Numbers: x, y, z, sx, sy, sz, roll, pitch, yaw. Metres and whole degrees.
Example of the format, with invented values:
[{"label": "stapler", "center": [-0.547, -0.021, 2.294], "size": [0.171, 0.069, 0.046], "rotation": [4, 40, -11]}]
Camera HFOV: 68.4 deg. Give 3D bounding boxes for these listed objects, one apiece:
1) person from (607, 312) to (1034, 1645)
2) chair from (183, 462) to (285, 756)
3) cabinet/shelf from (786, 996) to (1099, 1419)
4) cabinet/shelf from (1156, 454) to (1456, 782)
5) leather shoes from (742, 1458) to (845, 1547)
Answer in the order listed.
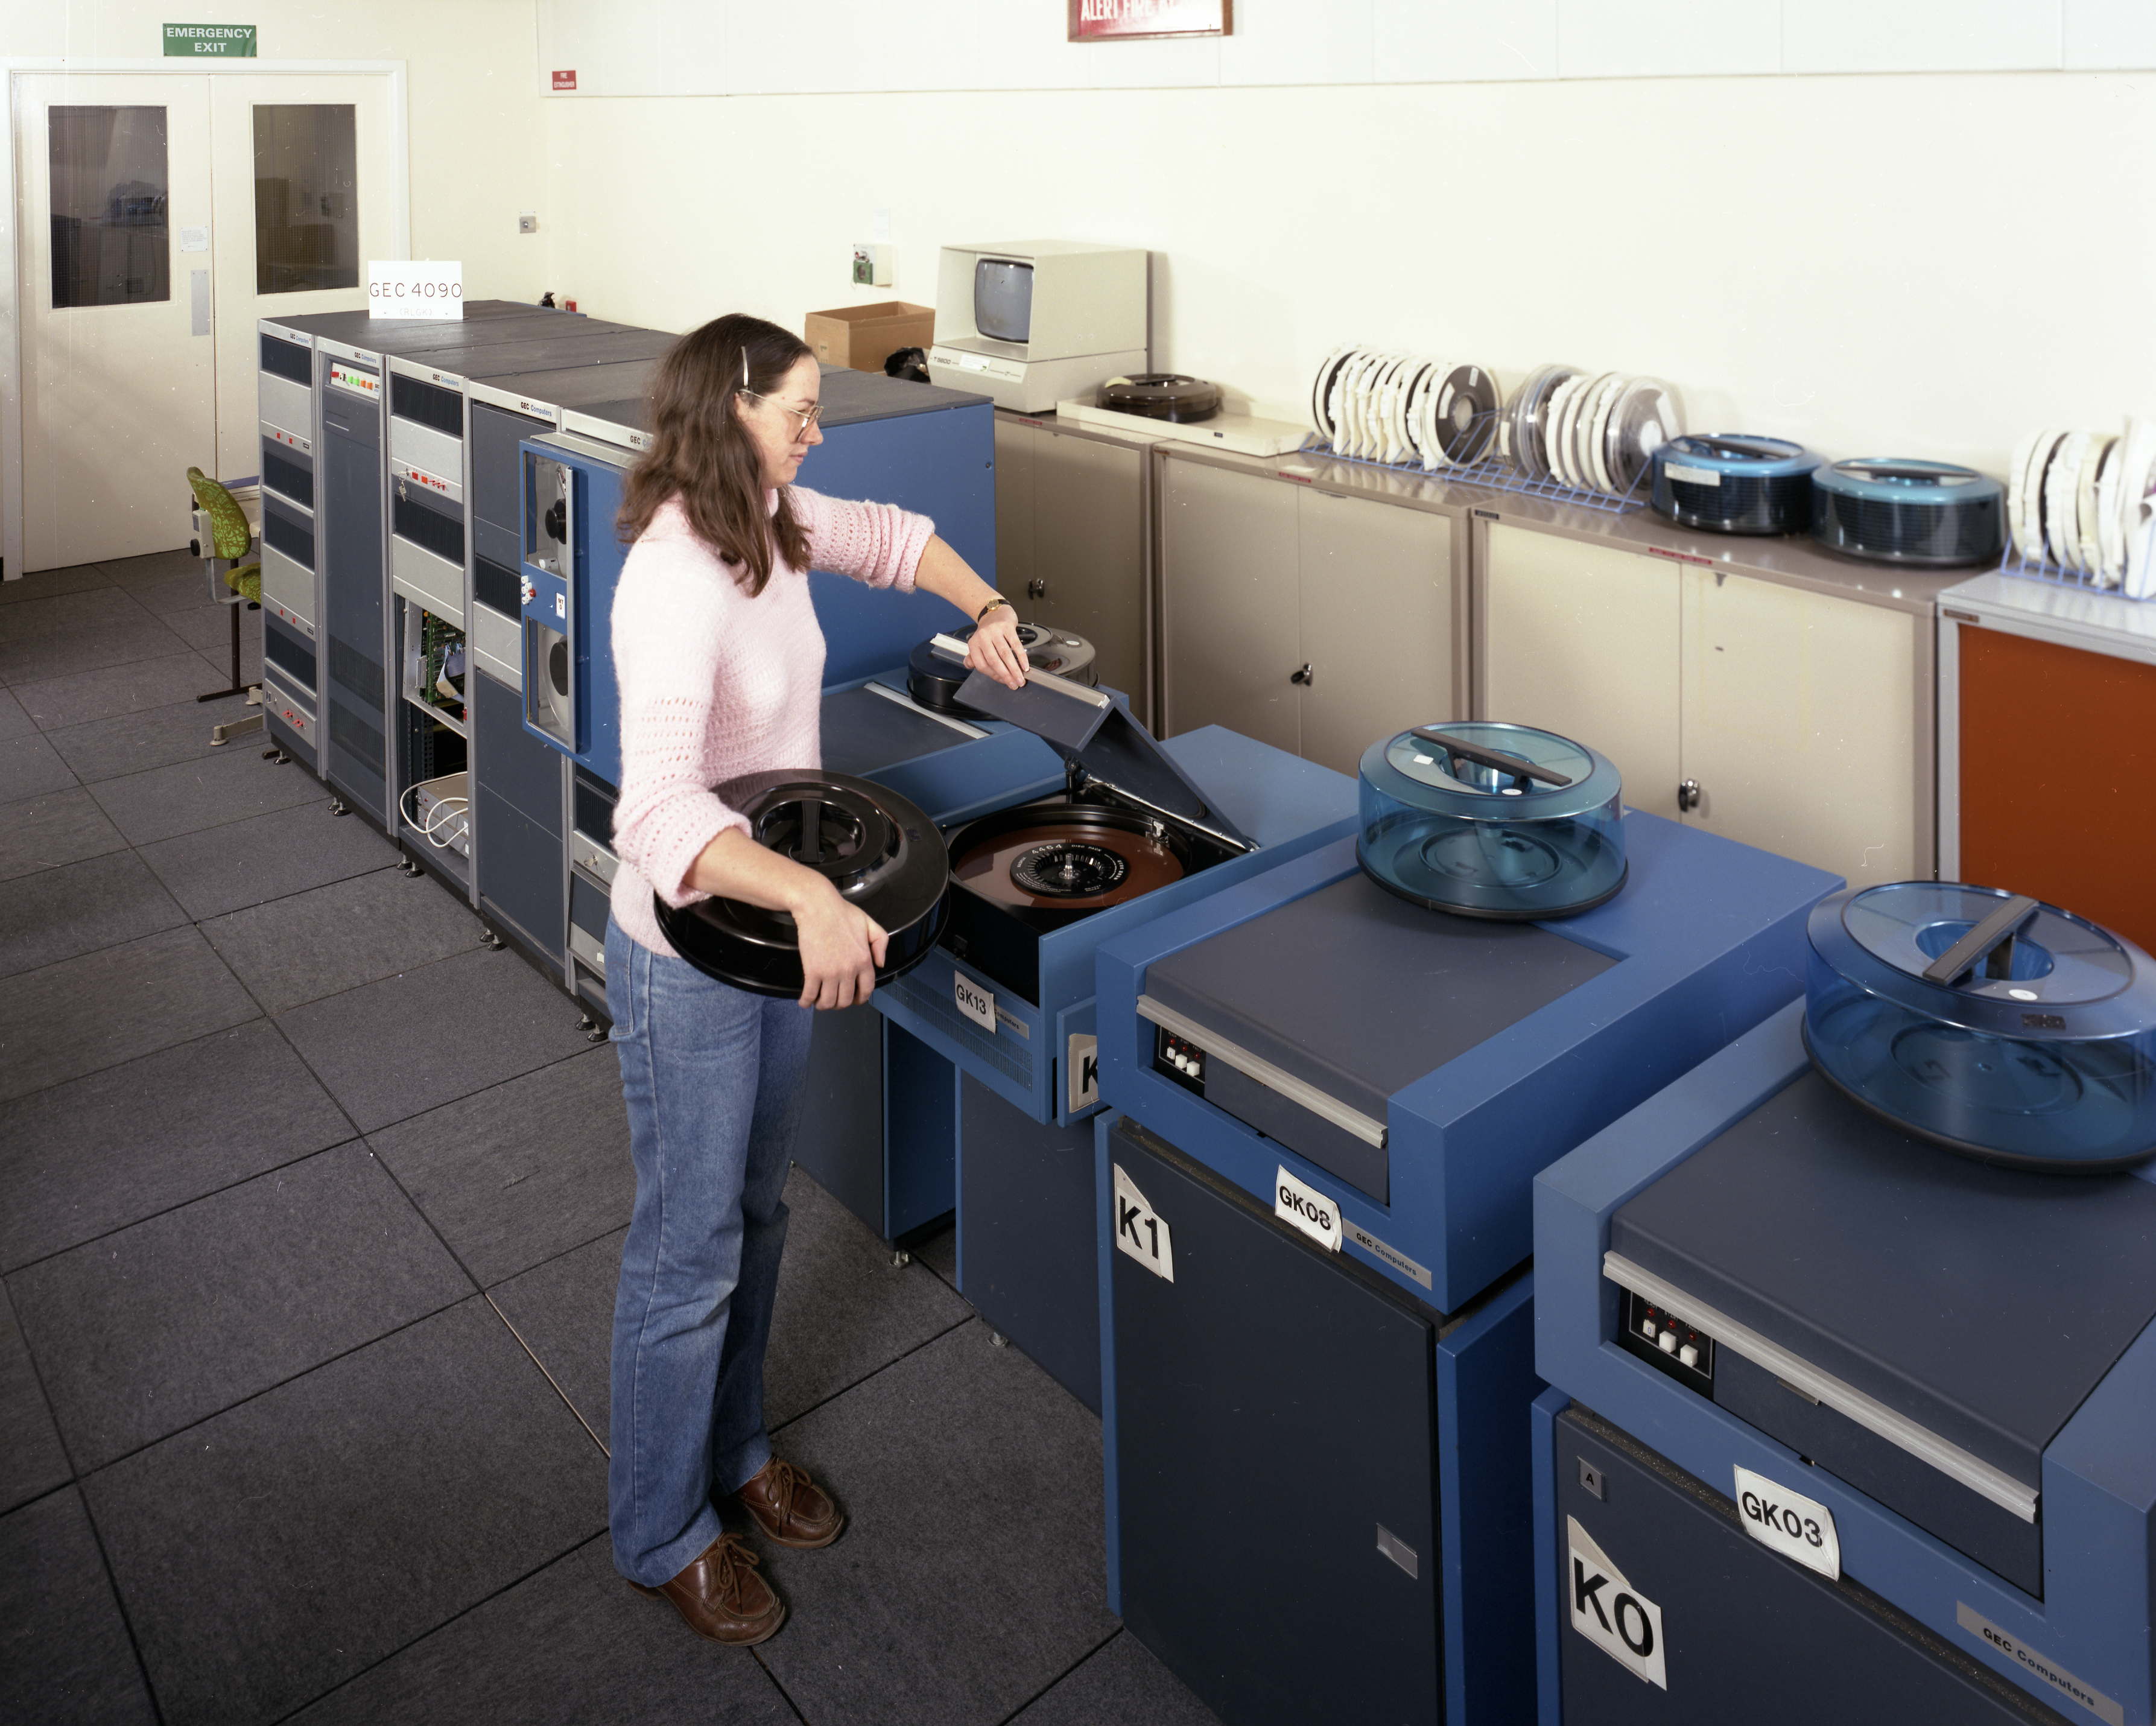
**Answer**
[{"label": "person", "center": [-0.444, 0.192, 2.439], "size": [0.616, 1.927, 0.931], "rotation": [3, 20, 0]}, {"label": "chair", "center": [-3.161, -1.026, 6.140], "size": [0.545, 0.863, 0.503], "rotation": [-3, 17, -34]}, {"label": "cabinet/shelf", "center": [-0.239, 0.636, 2.890], "size": [0.212, 0.430, 0.724], "rotation": [-10, 19, -35]}, {"label": "cabinet/shelf", "center": [0.555, -0.554, 4.625], "size": [1.098, 1.061, 0.372], "rotation": [-1, 1, -30]}, {"label": "leather shoes", "center": [-0.472, 1.058, 2.647], "size": [0.168, 0.063, 0.104], "rotation": [12, 23, 42]}]
